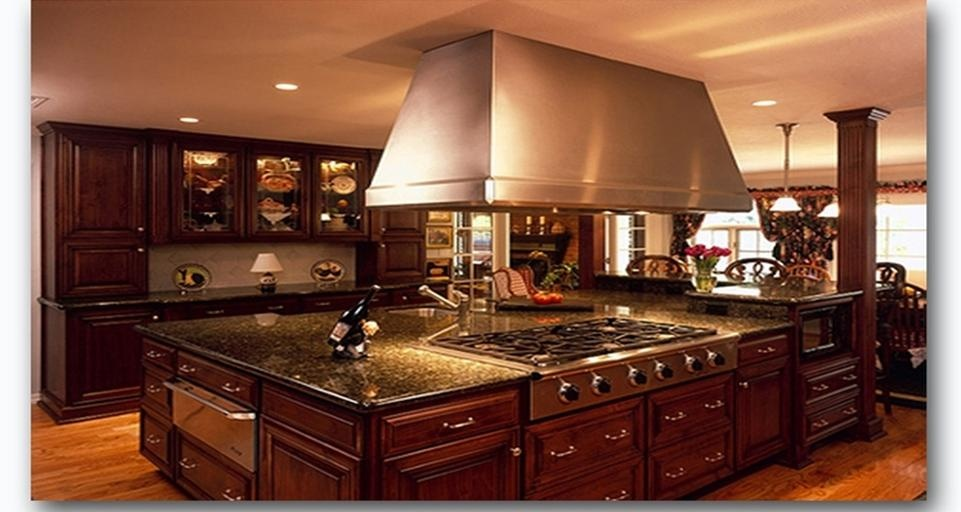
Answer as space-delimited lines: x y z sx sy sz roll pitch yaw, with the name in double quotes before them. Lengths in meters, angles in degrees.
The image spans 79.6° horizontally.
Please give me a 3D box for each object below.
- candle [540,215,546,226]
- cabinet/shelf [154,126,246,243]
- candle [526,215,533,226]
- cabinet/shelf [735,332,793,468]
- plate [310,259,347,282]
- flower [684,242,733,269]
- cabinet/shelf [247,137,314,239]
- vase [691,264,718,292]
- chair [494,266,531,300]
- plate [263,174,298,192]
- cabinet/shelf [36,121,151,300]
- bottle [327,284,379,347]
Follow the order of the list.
"candle" 1.229 -0.705 11.453 0.067 0.149 0.190 -10 12 -29
"cabinet/shelf" -3.296 -0.809 6.748 1.067 1.255 0.303 -6 12 -16
"candle" 0.990 -0.717 11.672 0.119 0.141 0.189 -2 10 4
"cabinet/shelf" 2.509 1.289 5.084 0.974 1.169 0.240 -13 15 -41
"plate" -2.048 0.191 7.810 0.474 0.285 0.243 -6 11 -21
"flower" 3.001 -0.013 7.580 0.844 0.376 0.628 -1 3 9
"cabinet/shelf" -2.466 -0.813 7.393 0.927 1.053 0.492 4 7 3
"vase" 2.198 0.228 5.786 0.332 0.269 0.284 0 3 11
"chair" 0.443 0.349 7.048 0.468 0.406 0.431 -1 -2 34
"plate" -2.504 -0.908 7.171 0.306 0.117 0.263 1 4 16
"cabinet/shelf" -4.189 -0.490 6.356 1.128 1.923 0.425 -8 13 -23
"bottle" -0.956 0.442 4.298 0.383 0.461 0.352 -3 11 1
